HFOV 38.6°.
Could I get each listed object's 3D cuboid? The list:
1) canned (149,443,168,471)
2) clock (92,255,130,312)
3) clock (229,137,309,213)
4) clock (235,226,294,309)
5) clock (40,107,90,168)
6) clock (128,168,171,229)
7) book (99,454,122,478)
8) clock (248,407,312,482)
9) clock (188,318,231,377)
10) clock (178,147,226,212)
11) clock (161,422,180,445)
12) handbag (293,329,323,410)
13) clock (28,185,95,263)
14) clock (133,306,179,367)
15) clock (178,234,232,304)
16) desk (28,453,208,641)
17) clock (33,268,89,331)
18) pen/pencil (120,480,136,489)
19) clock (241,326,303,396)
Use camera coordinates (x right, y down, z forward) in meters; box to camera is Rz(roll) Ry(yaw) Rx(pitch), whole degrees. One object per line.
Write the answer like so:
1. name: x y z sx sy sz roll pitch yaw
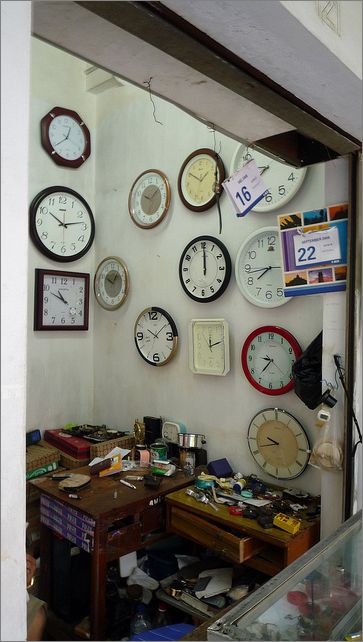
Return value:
1. canned: -0.122 0.778 2.980 0.105 0.180 0.109 2 3 35
2. clock: -0.495 -0.270 3.757 0.039 0.404 0.388 -1 5 -37
3. clock: 0.434 -0.771 2.642 0.364 0.448 0.033 3 -11 9
4. clock: 0.445 -0.262 2.637 0.033 0.424 0.408 -6 11 -44
5. clock: -0.816 -1.317 3.708 0.449 0.416 0.036 19 33 21
6. clock: -0.204 -0.805 3.410 0.362 0.379 0.028 -5 -5 35
7. book: -0.390 0.812 2.885 0.153 0.019 0.179 -9 14 -7
8. clock: 0.504 0.615 2.579 0.074 0.464 0.440 -5 3 -36
9. clock: 0.172 0.150 2.954 0.034 0.353 0.324 1 -2 -41
10. clock: 0.099 -0.816 3.053 0.082 0.361 0.349 5 -12 -37
11. clock: -0.059 0.687 3.146 0.053 0.116 0.125 3 -4 -28
12. handbag: 0.548 0.217 2.203 0.096 0.276 0.200 8 -5 -5
13. clock: -0.855 -0.693 3.720 0.530 0.534 0.048 1 -3 -39
14. clock: -0.150 0.100 3.343 0.029 0.396 0.383 0 2 -38
15. clock: 0.152 -0.301 3.000 0.066 0.410 0.392 0 3 -45
16. desk: -0.355 0.925 2.700 0.623 0.780 0.834 3 4 32
17. clock: -0.856 -0.141 3.748 0.048 0.444 0.478 0 -1 39
18. pen/pencil: -0.270 0.837 2.636 0.028 0.021 0.170 -2 4 -24
19. clock: 0.463 0.209 2.639 0.342 0.357 0.033 3 4 39
